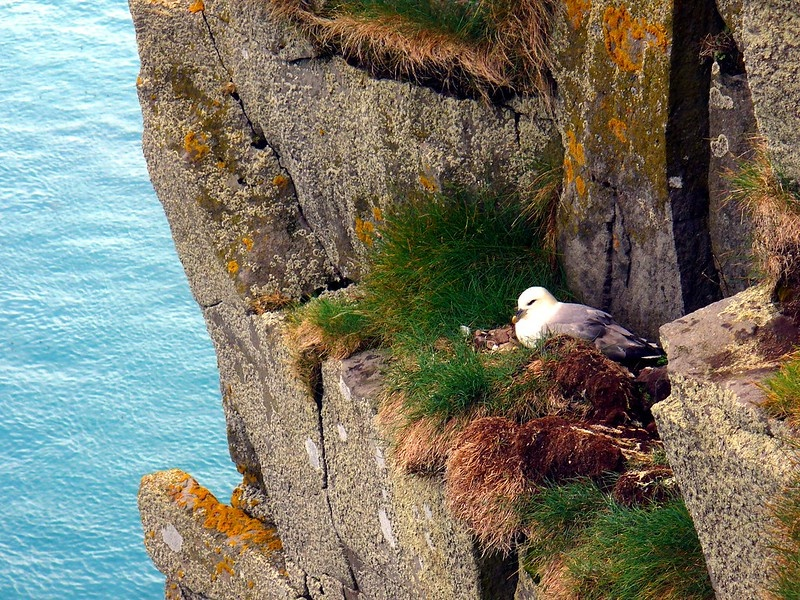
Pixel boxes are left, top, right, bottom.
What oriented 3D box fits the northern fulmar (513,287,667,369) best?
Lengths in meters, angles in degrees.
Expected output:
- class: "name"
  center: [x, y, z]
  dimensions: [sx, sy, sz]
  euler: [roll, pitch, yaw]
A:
- class: "northern fulmar"
  center: [0.991, 0.145, 11.100]
  dimensions: [0.802, 0.482, 0.399]
  euler: [-3, 5, 8]
